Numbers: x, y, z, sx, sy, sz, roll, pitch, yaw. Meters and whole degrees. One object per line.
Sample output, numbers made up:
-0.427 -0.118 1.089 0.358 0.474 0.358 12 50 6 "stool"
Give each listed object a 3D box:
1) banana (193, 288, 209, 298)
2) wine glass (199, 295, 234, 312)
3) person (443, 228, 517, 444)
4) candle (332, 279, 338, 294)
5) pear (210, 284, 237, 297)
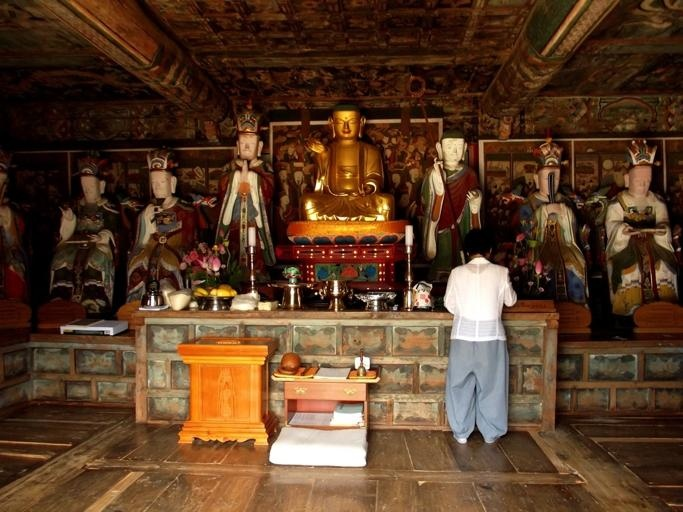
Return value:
-1.199 0.312 4.643 0.089 0.049 0.108 5 1 -34 "banana"
-1.064 0.393 4.593 0.279 0.110 0.148 0 -2 -11 "wine glass"
1.069 0.596 4.158 0.529 1.602 0.212 -1 -2 8 "person"
-0.042 0.264 4.553 0.056 0.110 0.016 0 -2 -3 "candle"
-1.005 0.286 4.629 0.148 0.067 0.131 1 2 -17 "pear"
